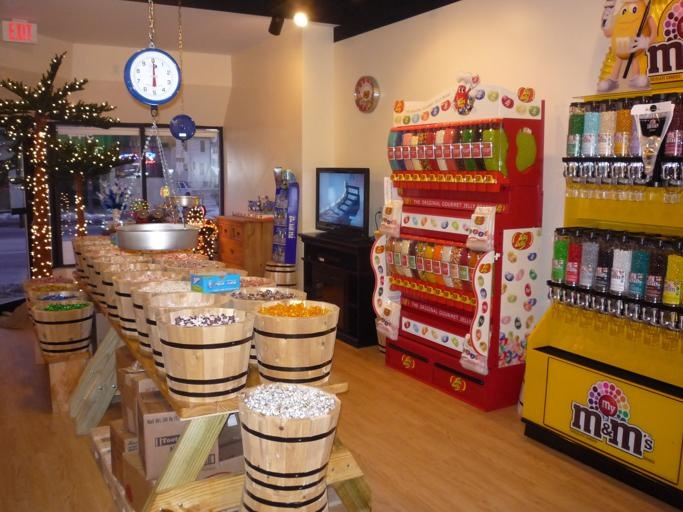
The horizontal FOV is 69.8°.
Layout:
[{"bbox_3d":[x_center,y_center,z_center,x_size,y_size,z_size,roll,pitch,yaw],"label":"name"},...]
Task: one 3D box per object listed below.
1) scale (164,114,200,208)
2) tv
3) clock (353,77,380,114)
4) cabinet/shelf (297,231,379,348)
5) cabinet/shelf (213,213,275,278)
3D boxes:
[{"bbox_3d":[-2.617,-1.735,8.080,0.391,1.289,0.373,-2,34,-19],"label":"scale"},{"bbox_3d":[-0.021,-0.687,6.127,0.090,0.768,0.963,5,5,41],"label":"tv"},{"bbox_3d":[0.324,-2.078,6.303,0.072,0.464,0.550,-5,12,-29],"label":"clock"},{"bbox_3d":[-0.026,0.384,6.206,0.479,1.206,1.251,-5,9,-39],"label":"cabinet/shelf"},{"bbox_3d":[-1.631,-0.074,8.127,0.822,1.131,0.591,8,14,36],"label":"cabinet/shelf"}]
